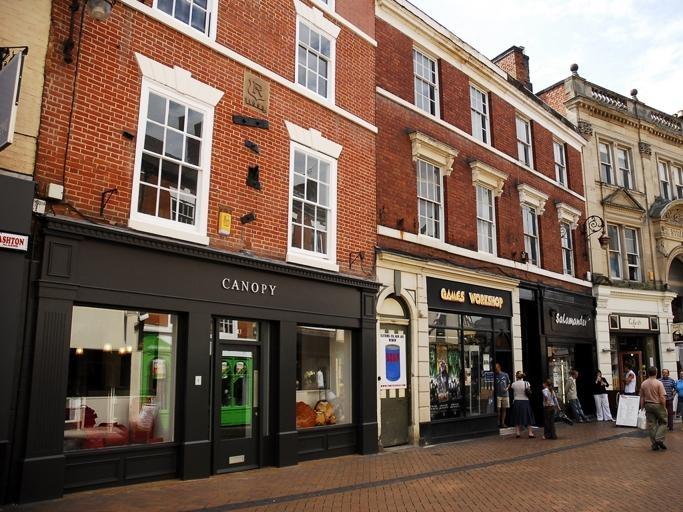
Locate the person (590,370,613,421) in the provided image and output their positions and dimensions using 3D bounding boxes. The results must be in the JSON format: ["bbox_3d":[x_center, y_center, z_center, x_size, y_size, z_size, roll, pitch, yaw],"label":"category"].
[{"bbox_3d":[9.573,5.108,21.818,0.525,1.806,0.595,-9,-17,23],"label":"person"}]

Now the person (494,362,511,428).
[{"bbox_3d":[5.150,4.407,18.904,0.488,2.011,1.552,-6,-16,15],"label":"person"}]

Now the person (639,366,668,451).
[{"bbox_3d":[7.961,3.835,15.088,0.563,2.059,1.141,-9,-17,26],"label":"person"}]
